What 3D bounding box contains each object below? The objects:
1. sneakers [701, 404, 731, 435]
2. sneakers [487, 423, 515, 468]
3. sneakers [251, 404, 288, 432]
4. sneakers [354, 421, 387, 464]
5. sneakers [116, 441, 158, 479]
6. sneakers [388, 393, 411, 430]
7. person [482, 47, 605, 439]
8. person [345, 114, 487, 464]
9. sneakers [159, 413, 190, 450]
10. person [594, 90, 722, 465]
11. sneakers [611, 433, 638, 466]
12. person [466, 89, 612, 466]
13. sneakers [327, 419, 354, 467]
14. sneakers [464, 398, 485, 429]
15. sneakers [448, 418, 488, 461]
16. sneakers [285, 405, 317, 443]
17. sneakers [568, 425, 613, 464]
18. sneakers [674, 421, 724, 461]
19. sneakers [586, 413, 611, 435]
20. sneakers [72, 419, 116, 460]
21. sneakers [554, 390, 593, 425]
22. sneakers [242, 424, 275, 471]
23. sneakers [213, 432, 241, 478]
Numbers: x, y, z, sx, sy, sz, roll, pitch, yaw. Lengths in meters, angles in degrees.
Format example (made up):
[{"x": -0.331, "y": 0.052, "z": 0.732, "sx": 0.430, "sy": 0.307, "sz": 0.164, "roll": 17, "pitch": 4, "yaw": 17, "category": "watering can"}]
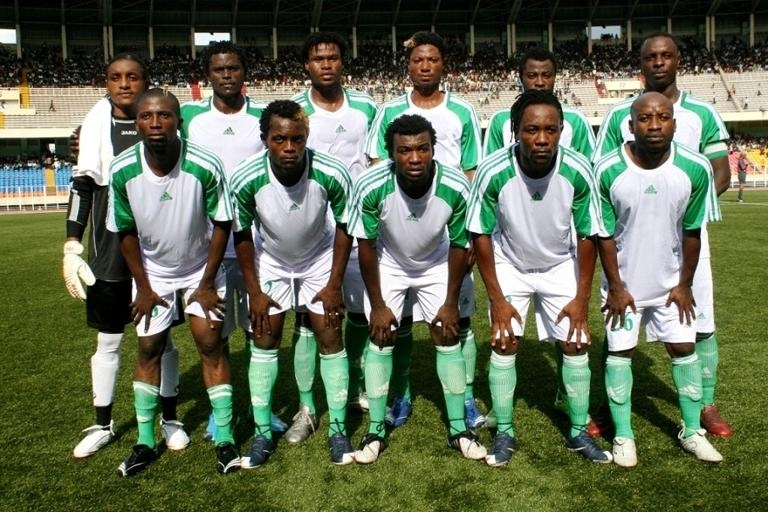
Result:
[{"x": 2.969, "y": 1.494, "z": 6.280, "sx": 0.119, "sy": 0.126, "sz": 0.314, "roll": -20, "pitch": 13, "yaw": -1, "category": "sneakers"}, {"x": 1.015, "y": 1.670, "z": 6.030, "sx": 0.211, "sy": 0.204, "sz": 0.479, "roll": 0, "pitch": 9, "yaw": 30, "category": "sneakers"}, {"x": -1.125, "y": 1.554, "z": 6.628, "sx": 0.169, "sy": 0.210, "sz": 0.483, "roll": -1, "pitch": 1, "yaw": -42, "category": "sneakers"}, {"x": -0.121, "y": 1.661, "z": 6.117, "sx": 0.185, "sy": 0.186, "sz": 0.522, "roll": 10, "pitch": 10, "yaw": 27, "category": "sneakers"}, {"x": -2.114, "y": 1.735, "z": 5.929, "sx": 0.134, "sy": 0.150, "sz": 0.378, "roll": 0, "pitch": 1, "yaw": 15, "category": "sneakers"}, {"x": 0.146, "y": 1.510, "z": 6.663, "sx": 0.231, "sy": 0.255, "sz": 0.640, "roll": -5, "pitch": -11, "yaw": 15, "category": "sneakers"}, {"x": 1.347, "y": 0.379, "z": 6.200, "sx": 1.159, "sy": 3.494, "sz": 1.078, "roll": 11, "pitch": 28, "yaw": 25, "category": "person"}, {"x": 0.347, "y": 0.310, "z": 6.247, "sx": 1.307, "sy": 3.123, "sz": 1.123, "roll": 2, "pitch": 15, "yaw": 10, "category": "person"}, {"x": -1.929, "y": 1.599, "z": 6.344, "sx": 0.213, "sy": 0.185, "sz": 0.472, "roll": -7, "pitch": 22, "yaw": -31, "category": "sneakers"}, {"x": 2.315, "y": 0.162, "z": 5.911, "sx": 1.001, "sy": 3.036, "sz": 0.808, "roll": -1, "pitch": 14, "yaw": 6, "category": "person"}, {"x": 2.066, "y": 1.654, "z": 5.903, "sx": 0.252, "sy": 0.205, "sz": 0.224, "roll": -3, "pitch": 14, "yaw": -2, "category": "sneakers"}, {"x": 1.305, "y": 0.157, "z": 5.972, "sx": 1.133, "sy": 3.093, "sz": 0.780, "roll": -1, "pitch": 14, "yaw": 6, "category": "person"}, {"x": -0.405, "y": 1.681, "z": 6.139, "sx": 0.195, "sy": 0.190, "sz": 0.520, "roll": -1, "pitch": 11, "yaw": -17, "category": "sneakers"}, {"x": 0.843, "y": 1.536, "z": 6.644, "sx": 0.127, "sy": 0.157, "sz": 0.343, "roll": -2, "pitch": -1, "yaw": -16, "category": "sneakers"}, {"x": 0.716, "y": 1.614, "z": 6.062, "sx": 0.333, "sy": 0.154, "sz": 0.175, "roll": 19, "pitch": 34, "yaw": 39, "category": "sneakers"}, {"x": -0.779, "y": 1.554, "z": 6.460, "sx": 0.175, "sy": 0.199, "sz": 0.515, "roll": 8, "pitch": 14, "yaw": 7, "category": "sneakers"}, {"x": 1.764, "y": 1.649, "z": 6.029, "sx": 0.166, "sy": 0.190, "sz": 0.443, "roll": -6, "pitch": 10, "yaw": -34, "category": "sneakers"}, {"x": 2.714, "y": 1.630, "z": 5.947, "sx": 0.172, "sy": 0.218, "sz": 0.485, "roll": -1, "pitch": 5, "yaw": -16, "category": "sneakers"}, {"x": 1.977, "y": 1.588, "z": 6.435, "sx": 0.181, "sy": 0.065, "sz": 0.178, "roll": -8, "pitch": 29, "yaw": 8, "category": "sneakers"}, {"x": -2.575, "y": 1.645, "z": 6.201, "sx": 0.149, "sy": 0.175, "sz": 0.399, "roll": 8, "pitch": 23, "yaw": 26, "category": "sneakers"}, {"x": 1.756, "y": 1.403, "z": 6.545, "sx": 0.173, "sy": 0.228, "sz": 0.556, "roll": -16, "pitch": 3, "yaw": 1, "category": "sneakers"}, {"x": -1.105, "y": 1.690, "z": 6.046, "sx": 0.186, "sy": 0.206, "sz": 0.354, "roll": 3, "pitch": 15, "yaw": 20, "category": "sneakers"}, {"x": -1.362, "y": 1.717, "z": 5.987, "sx": 0.191, "sy": 0.166, "sz": 0.381, "roll": -13, "pitch": 19, "yaw": -14, "category": "sneakers"}]
